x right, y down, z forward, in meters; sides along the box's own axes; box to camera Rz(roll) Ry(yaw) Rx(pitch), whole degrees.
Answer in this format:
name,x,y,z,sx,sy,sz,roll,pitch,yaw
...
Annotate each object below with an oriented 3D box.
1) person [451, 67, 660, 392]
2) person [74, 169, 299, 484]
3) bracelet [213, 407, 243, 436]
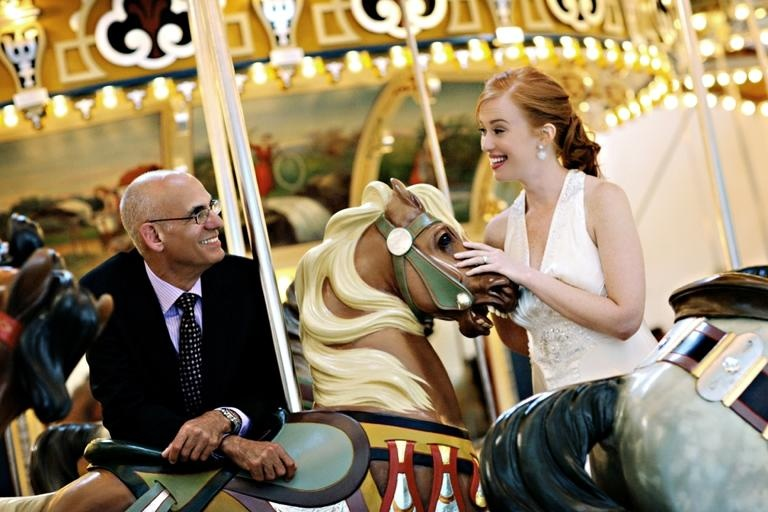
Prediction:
name,x,y,z,sx,sy,sz,roll,pitch,yaw
person,0.761,-0.045,3.259,0.786,1.496,0.703,3,11,19
person,-0.773,0.233,2.923,0.756,1.086,0.704,-3,10,-15
bracelet,-0.576,0.617,2.865,0.089,0.088,0.064,7,13,36
